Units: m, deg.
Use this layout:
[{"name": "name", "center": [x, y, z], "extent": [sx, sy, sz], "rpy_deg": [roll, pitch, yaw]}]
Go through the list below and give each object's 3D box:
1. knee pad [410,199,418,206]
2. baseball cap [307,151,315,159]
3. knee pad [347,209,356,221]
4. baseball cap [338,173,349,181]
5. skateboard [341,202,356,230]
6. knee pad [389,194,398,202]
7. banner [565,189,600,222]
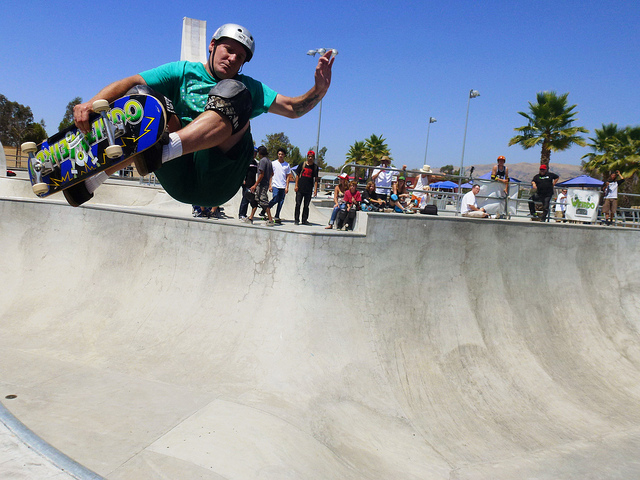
[{"name": "knee pad", "center": [1.932, -0.764, 11.196], "extent": [0.134, 0.146, 0.034], "rpy_deg": [5, -6, -19]}, {"name": "baseball cap", "center": [-0.169, -1.702, 10.918], "extent": [0.113, 0.158, 0.150], "rpy_deg": [-1, 19, 5]}, {"name": "knee pad", "center": [0.586, -0.440, 9.790], "extent": [0.092, 0.186, 0.132], "rpy_deg": [-14, 39, -38]}, {"name": "baseball cap", "center": [0.473, -1.200, 10.391], "extent": [0.187, 0.095, 0.207], "rpy_deg": [6, 4, -3]}, {"name": "skateboard", "center": [0.528, -0.413, 9.946], "extent": [0.110, 0.566, 0.126], "rpy_deg": [6, -20, 39]}, {"name": "knee pad", "center": [1.474, -0.822, 10.768], "extent": [0.098, 0.113, 0.137], "rpy_deg": [1, -23, 11]}, {"name": "banner", "center": [6.578, -0.864, 13.609], "extent": [0.661, 0.745, 0.075], "rpy_deg": [7, 7, 13]}]
